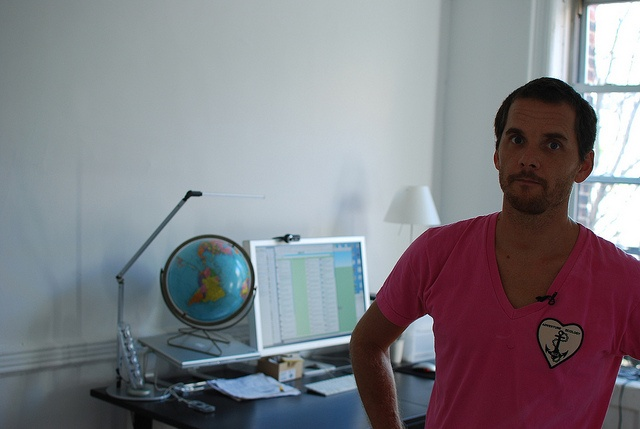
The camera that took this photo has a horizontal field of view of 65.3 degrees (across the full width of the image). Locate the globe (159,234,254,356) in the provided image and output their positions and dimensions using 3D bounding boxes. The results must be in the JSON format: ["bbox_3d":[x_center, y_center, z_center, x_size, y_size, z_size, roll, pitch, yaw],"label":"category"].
[{"bbox_3d":[-0.480,0.328,2.144,0.412,0.512,0.311,10,4,4],"label":"globe"}]

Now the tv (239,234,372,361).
[{"bbox_3d":[-0.045,0.376,2.401,0.714,0.527,0.089,3,-10,-42],"label":"tv"}]
